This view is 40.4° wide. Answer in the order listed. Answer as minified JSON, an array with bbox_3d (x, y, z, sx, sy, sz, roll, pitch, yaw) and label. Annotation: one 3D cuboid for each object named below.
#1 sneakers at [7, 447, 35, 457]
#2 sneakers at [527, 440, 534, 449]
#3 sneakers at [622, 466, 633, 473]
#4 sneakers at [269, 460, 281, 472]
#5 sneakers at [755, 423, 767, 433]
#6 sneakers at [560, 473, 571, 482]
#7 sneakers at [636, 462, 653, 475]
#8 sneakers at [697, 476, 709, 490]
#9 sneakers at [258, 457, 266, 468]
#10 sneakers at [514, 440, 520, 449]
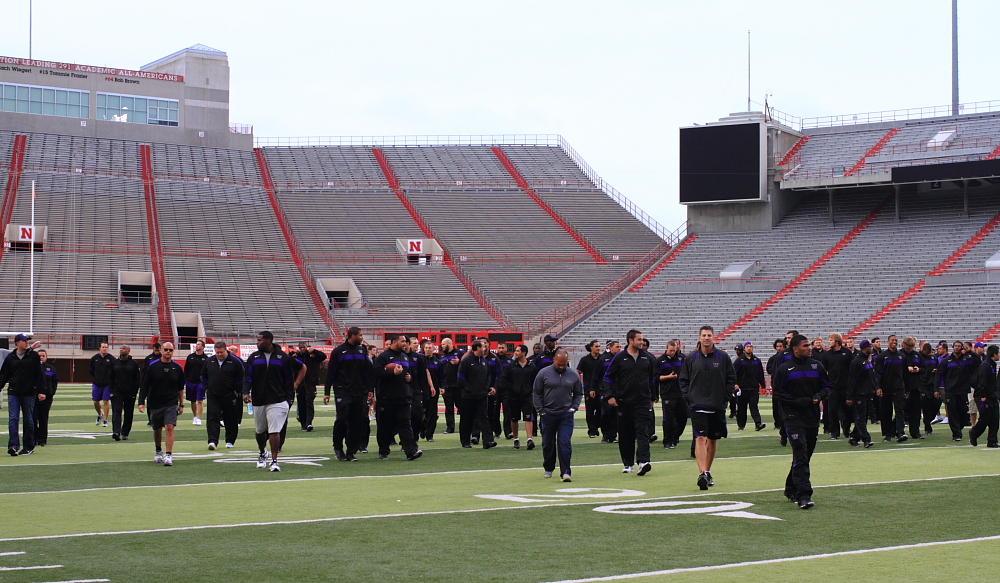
[{"bbox_3d":[-11.638,3.889,32.768,0.186,0.190,0.539,-6,-16,38],"label":"sneakers"},{"bbox_3d":[0.742,3.841,33.825,0.136,0.182,0.271,-4,-42,-22],"label":"sneakers"},{"bbox_3d":[2.797,4.004,30.401,0.135,0.118,0.299,0,-10,13],"label":"sneakers"},{"bbox_3d":[-5.152,4.008,30.744,0.165,0.153,0.369,-3,-20,-6],"label":"sneakers"},{"bbox_3d":[7.262,3.809,37.989,0.383,0.157,0.120,-24,-27,-54],"label":"sneakers"},{"bbox_3d":[1.386,4.052,29.468,0.210,0.147,0.427,0,-6,-4],"label":"sneakers"},{"bbox_3d":[3.126,3.968,29.991,0.176,0.181,0.418,13,-58,-31],"label":"sneakers"},{"bbox_3d":[4.234,4.008,28.443,0.162,0.180,0.392,2,-45,14],"label":"sneakers"},{"bbox_3d":[-5.521,3.922,30.969,0.219,0.234,0.260,7,1,-11],"label":"sneakers"},{"bbox_3d":[0.377,3.896,34.413,0.162,0.153,0.418,0,-4,-5],"label":"sneakers"}]
